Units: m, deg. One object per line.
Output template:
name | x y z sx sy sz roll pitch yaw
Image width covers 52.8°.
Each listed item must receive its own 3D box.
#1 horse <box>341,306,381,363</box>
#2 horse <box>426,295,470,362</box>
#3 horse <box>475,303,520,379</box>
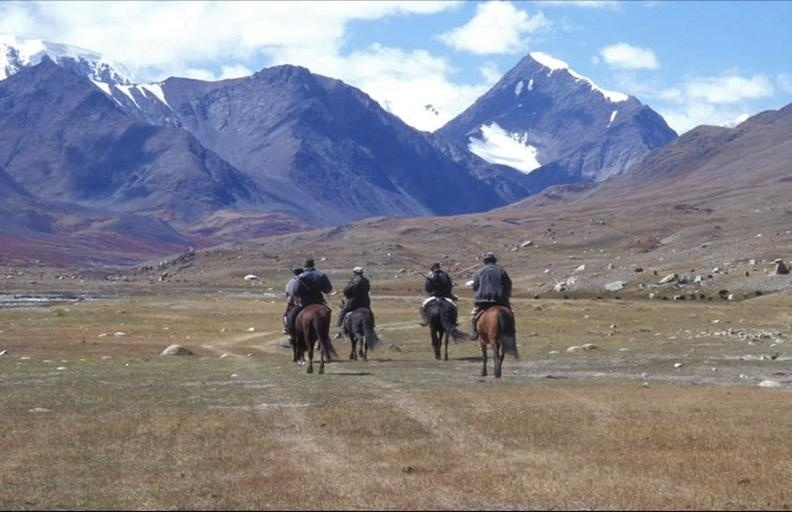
horse | -2.161 3.812 40.752 1.080 2.526 4.143 4 -7 -23
horse | 2.430 3.603 40.338 1.589 2.892 2.964 -4 3 -8
horse | 4.154 3.512 33.281 1.570 2.928 3.888 -3 3 4
